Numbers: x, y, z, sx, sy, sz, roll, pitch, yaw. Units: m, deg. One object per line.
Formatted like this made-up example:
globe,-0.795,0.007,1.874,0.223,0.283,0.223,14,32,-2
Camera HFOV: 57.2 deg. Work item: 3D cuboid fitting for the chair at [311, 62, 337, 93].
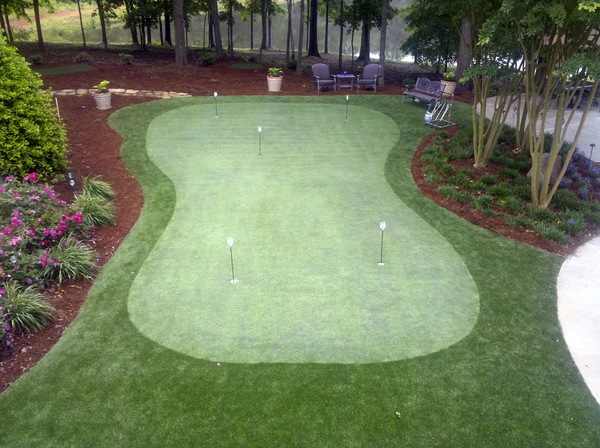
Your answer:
chair,1.241,-7.294,27.628,1.137,1.273,1.956,3,25,0

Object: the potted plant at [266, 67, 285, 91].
potted plant,-1.226,-7.284,27.695,0.756,1.064,2.067,1,26,-3
